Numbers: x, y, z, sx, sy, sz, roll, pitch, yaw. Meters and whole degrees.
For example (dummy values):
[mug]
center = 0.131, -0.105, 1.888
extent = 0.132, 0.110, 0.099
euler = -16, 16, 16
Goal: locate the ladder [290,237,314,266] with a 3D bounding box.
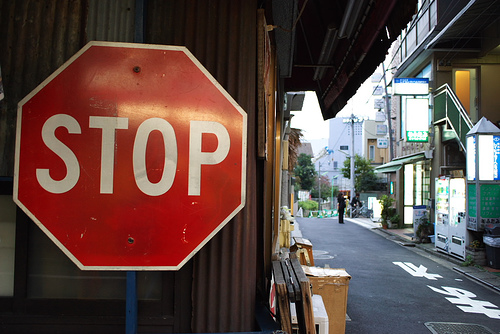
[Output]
[ladder]
center = 0.895, 1.497, 8.207
extent = 0.355, 0.349, 0.866
euler = 1, -1, -4

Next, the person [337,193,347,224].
[person]
center = 4.643, 2.112, 24.028
extent = 0.330, 1.048, 1.509
euler = 1, -1, 10

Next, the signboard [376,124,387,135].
[signboard]
center = 11.276, -3.232, 40.699
extent = 1.215, 1.266, 0.692
euler = 0, 2, 10

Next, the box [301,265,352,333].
[box]
center = 1.113, 1.884, 6.647
extent = 0.780, 1.252, 0.907
euler = -1, -3, 8
